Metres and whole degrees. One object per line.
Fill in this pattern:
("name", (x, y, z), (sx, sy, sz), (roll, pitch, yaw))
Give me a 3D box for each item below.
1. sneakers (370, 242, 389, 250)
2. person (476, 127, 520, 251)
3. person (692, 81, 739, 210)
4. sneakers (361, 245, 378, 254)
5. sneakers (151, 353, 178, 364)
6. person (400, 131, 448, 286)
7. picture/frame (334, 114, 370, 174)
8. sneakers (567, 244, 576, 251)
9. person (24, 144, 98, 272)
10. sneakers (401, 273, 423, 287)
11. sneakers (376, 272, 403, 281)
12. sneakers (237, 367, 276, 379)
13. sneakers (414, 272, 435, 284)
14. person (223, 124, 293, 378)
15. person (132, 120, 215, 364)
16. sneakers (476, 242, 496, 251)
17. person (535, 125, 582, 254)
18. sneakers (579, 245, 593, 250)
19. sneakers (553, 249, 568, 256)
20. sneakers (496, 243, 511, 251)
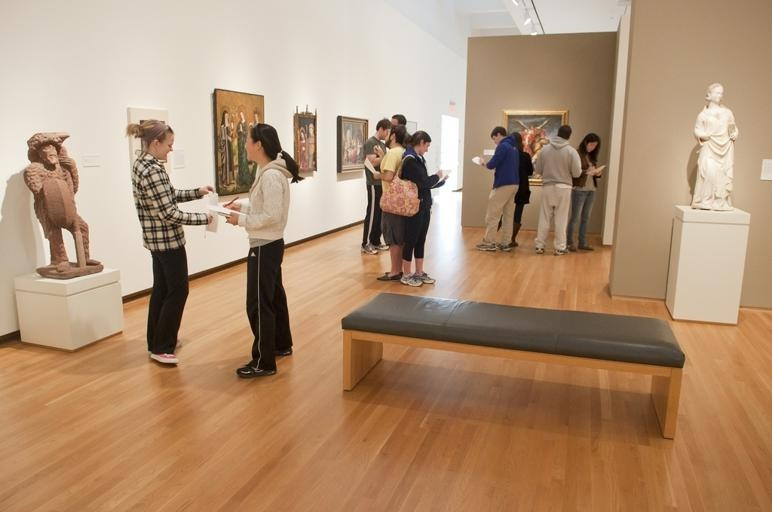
("sneakers", (-0.092, -0.211, 10.229), (0.140, 0.154, 0.343), (3, -4, 16))
("person", (2.150, -1.262, 9.975), (0.674, 2.336, 0.610), (2, 15, 9))
("person", (4.152, -1.381, 6.602), (0.526, 1.517, 0.519), (10, 18, 33))
("sneakers", (-0.306, -0.158, 9.953), (0.340, 0.156, 0.132), (14, 21, 41))
("sneakers", (-2.296, 1.066, 5.488), (0.282, 0.124, 0.109), (5, 0, 18))
("person", (0.506, -0.673, 7.689), (0.630, 2.267, 0.445), (-1, 15, -2))
("picture/frame", (-0.746, -2.692, 12.486), (0.153, 1.284, 1.488), (3, 12, 22))
("sneakers", (3.652, -0.177, 10.350), (0.122, 0.118, 0.191), (2, 9, -5))
("person", (-3.611, -0.569, 5.799), (0.604, 1.548, 0.585), (-7, 16, -26))
("sneakers", (0.390, 0.368, 7.907), (0.310, 0.151, 0.141), (6, 30, 15))
("sneakers", (0.054, 0.318, 8.189), (0.384, 0.154, 0.156), (2, 6, 10))
("sneakers", (-1.298, 1.161, 5.237), (0.249, 0.083, 0.142), (3, 4, -14))
("sneakers", (0.599, 0.318, 8.023), (0.354, 0.174, 0.133), (9, 23, 4))
("person", (-1.183, -0.066, 5.246), (0.720, 2.443, 0.606), (-3, 15, -12))
("person", (-2.242, -0.146, 5.443), (0.673, 2.460, 0.663), (-8, 16, -27))
("sneakers", (1.954, -0.218, 10.300), (0.375, 0.188, 0.149), (8, 21, 22))
("person", (3.179, -1.239, 9.832), (0.779, 2.375, 0.398), (4, 15, 15))
("sneakers", (3.973, -0.185, 10.456), (0.256, 0.171, 0.097), (0, 14, 17))
("sneakers", (3.321, -0.095, 9.970), (0.239, 0.116, 0.102), (-4, 38, -6))
("sneakers", (2.288, -0.181, 10.263), (0.281, 0.138, 0.112), (8, 46, 2))
